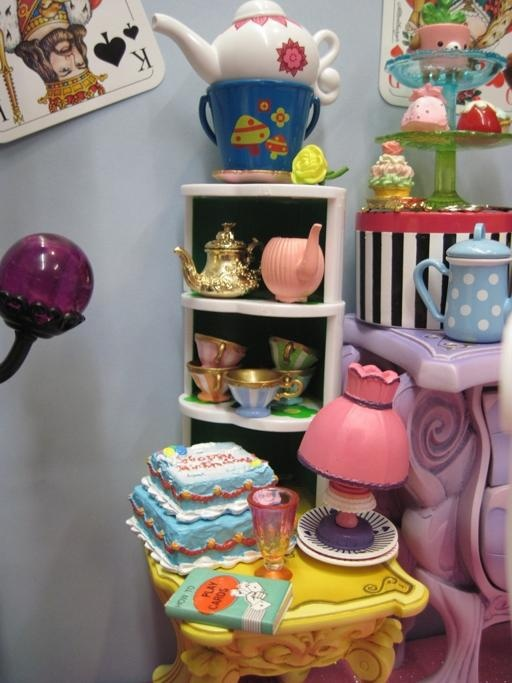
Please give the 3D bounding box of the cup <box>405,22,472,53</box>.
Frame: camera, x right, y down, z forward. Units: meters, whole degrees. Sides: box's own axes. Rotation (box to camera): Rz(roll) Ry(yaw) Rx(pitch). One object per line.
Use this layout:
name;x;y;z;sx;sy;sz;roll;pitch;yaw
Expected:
cup;0.345;-0.570;1.192;0.084;0.050;0.079;0;24;0

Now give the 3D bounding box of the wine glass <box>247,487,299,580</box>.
wine glass;0.030;0.284;0.945;0.068;0.133;0.069;5;19;29

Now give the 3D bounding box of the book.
book;-0.037;0.351;0.874;0.147;0.028;0.101;1;16;16

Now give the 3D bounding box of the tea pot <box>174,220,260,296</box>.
tea pot;-0.059;-0.153;1.184;0.203;0.132;0.119;-7;14;-37

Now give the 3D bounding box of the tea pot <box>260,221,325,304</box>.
tea pot;0.065;-0.132;1.117;0.123;0.121;0.145;1;3;-10

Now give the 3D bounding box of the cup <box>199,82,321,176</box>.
cup;0.009;-0.400;1.203;0.245;0.137;0.191;3;12;4
